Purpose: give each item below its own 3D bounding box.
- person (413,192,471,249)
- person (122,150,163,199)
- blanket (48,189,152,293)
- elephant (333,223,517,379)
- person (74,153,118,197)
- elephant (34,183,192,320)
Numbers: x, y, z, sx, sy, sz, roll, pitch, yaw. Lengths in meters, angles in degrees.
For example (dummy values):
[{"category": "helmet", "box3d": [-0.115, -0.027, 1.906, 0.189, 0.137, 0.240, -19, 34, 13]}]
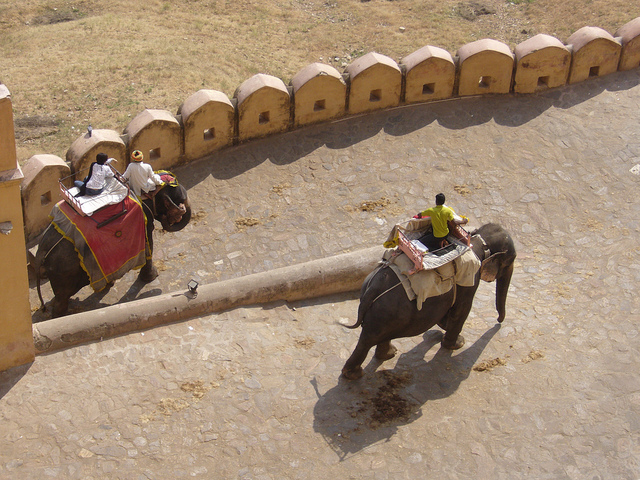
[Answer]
[{"category": "person", "box3d": [1.789, -0.190, 13.142, 0.963, 1.014, 0.472, 4, 36, 10]}, {"category": "person", "box3d": [-2.975, -1.121, 14.602, 0.631, 0.762, 0.356, -25, 51, -24]}, {"category": "blanket", "box3d": [-3.581, -0.073, 14.638, 1.055, 1.297, 1.457, 18, 38, 39]}, {"category": "elephant", "box3d": [1.689, 0.938, 13.434, 3.170, 1.852, 1.071, -19, 38, -28]}, {"category": "person", "box3d": [-3.768, -1.076, 14.513, 0.347, 0.734, 0.606, 34, 29, 0]}, {"category": "elephant", "box3d": [-3.506, -0.079, 14.939, 1.245, 1.790, 3.279, 33, 47, 33]}]
